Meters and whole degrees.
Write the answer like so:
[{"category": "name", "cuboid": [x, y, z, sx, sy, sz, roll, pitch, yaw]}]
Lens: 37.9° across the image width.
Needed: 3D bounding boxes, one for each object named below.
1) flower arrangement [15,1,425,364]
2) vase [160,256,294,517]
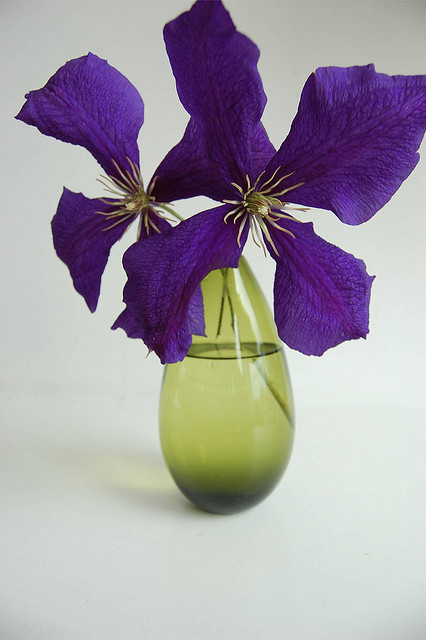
[{"category": "flower arrangement", "cuboid": [0.044, -0.129, 0.483, 0.295, 0.098, 0.253, 24, -36, 0]}, {"category": "vase", "cuboid": [0.017, 0.077, 0.606, 0.137, 0.269, 0.084, -2, 12, -6]}]
